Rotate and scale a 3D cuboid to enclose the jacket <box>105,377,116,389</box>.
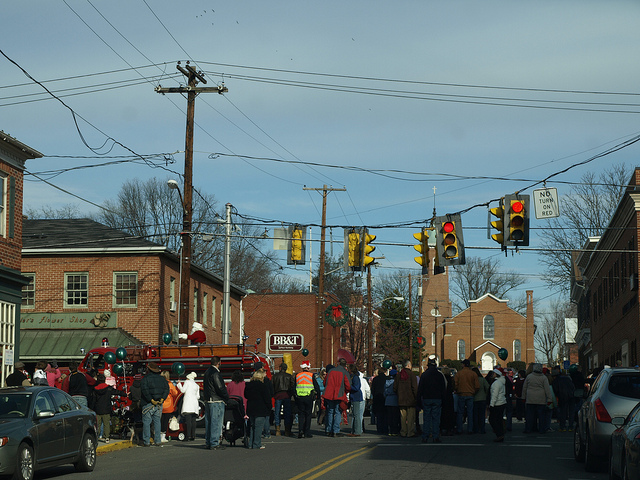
[{"bbox_3d":[-7.376,5.065,43.729,0.536,0.500,0.563,0,-5,-4],"label":"jacket"}]

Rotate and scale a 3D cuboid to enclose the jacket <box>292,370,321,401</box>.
[{"bbox_3d":[-0.559,5.583,45.696,0.879,1.176,1.323,-3,-47,4],"label":"jacket"}]

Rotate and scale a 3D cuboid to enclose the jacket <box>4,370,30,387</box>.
[{"bbox_3d":[-9.500,4.424,38.758,0.820,0.768,0.445,-1,-3,14],"label":"jacket"}]

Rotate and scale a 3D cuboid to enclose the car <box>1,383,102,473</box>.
[{"bbox_3d":[-7.508,5.267,33.751,0.952,2.541,3.403,-10,-18,30],"label":"car"}]

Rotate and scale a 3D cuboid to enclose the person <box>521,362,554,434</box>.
[{"bbox_3d":[7.387,5.369,41.843,0.970,2.394,1.262,-4,-16,10],"label":"person"}]

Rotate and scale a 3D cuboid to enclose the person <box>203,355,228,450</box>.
[{"bbox_3d":[-3.243,5.109,38.476,0.704,2.893,0.908,3,-16,-15],"label":"person"}]

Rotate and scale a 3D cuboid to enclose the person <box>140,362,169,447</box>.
[{"bbox_3d":[-5.302,5.304,39.483,0.900,2.640,1.085,1,-16,-9],"label":"person"}]

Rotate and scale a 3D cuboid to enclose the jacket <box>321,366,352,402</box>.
[{"bbox_3d":[0.558,4.909,41.950,1.009,1.204,0.880,7,-7,11],"label":"jacket"}]

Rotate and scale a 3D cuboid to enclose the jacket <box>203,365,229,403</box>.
[{"bbox_3d":[-3.333,4.519,38.677,0.645,1.129,1.224,-1,2,-31],"label":"jacket"}]

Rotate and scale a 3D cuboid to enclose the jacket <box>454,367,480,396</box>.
[{"bbox_3d":[4.956,4.799,41.605,0.870,0.991,0.594,1,4,3],"label":"jacket"}]

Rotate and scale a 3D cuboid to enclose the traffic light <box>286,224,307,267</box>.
[{"bbox_3d":[-0.818,0.411,45.513,0.643,1.543,0.435,-1,-53,0],"label":"traffic light"}]

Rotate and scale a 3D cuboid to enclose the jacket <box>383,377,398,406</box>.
[{"bbox_3d":[2.363,5.293,42.508,0.598,1.103,0.887,3,-11,-15],"label":"jacket"}]

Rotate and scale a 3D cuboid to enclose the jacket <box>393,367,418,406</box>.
[{"bbox_3d":[2.957,4.975,41.327,0.459,1.279,1.171,14,-22,-43],"label":"jacket"}]

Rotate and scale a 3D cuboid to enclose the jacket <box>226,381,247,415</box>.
[{"bbox_3d":[-2.698,5.131,40.373,0.737,1.331,0.855,0,2,10],"label":"jacket"}]

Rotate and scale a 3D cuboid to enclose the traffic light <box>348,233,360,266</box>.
[{"bbox_3d":[1.215,0.374,43.446,0.406,1.127,0.621,-1,-16,0],"label":"traffic light"}]

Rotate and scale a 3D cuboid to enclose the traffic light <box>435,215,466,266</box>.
[{"bbox_3d":[4.366,0.058,41.183,0.837,1.753,0.442,-7,-21,6],"label":"traffic light"}]

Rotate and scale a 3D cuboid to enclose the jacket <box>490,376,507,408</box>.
[{"bbox_3d":[5.921,4.993,40.753,0.562,0.979,0.972,0,3,16],"label":"jacket"}]

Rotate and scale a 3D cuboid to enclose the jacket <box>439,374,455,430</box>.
[{"bbox_3d":[4.364,5.672,42.187,0.531,2.061,0.593,-7,18,-1],"label":"jacket"}]

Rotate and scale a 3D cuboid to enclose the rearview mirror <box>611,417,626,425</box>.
[{"bbox_3d":[7.619,4.648,31.359,0.340,0.221,0.306,-5,-17,10],"label":"rearview mirror"}]

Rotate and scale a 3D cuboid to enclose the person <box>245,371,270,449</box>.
[{"bbox_3d":[-1.956,5.348,38.398,0.545,2.393,0.741,13,-21,-41],"label":"person"}]

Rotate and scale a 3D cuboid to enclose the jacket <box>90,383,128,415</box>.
[{"bbox_3d":[-6.914,5.263,40.224,1.206,1.180,0.414,1,0,6],"label":"jacket"}]

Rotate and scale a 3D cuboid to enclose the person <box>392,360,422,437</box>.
[{"bbox_3d":[2.887,5.317,41.396,0.833,2.676,1.459,-2,-16,2],"label":"person"}]

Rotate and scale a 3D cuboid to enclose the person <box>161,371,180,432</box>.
[{"bbox_3d":[-5.064,5.492,41.050,0.842,2.169,0.657,4,23,-4],"label":"person"}]

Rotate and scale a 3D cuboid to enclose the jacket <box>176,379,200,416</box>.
[{"bbox_3d":[-4.296,5.246,40.915,0.559,1.045,0.676,-1,-16,-2],"label":"jacket"}]

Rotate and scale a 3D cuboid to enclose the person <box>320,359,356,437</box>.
[{"bbox_3d":[0.643,5.385,42.075,1.066,2.644,1.037,1,-12,30],"label":"person"}]

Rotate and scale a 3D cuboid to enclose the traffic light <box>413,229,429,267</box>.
[{"bbox_3d":[3.538,0.243,42.648,0.485,1.457,1.087,-3,-16,6],"label":"traffic light"}]

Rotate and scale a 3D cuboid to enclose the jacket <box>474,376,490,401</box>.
[{"bbox_3d":[5.465,5.096,41.676,0.859,0.895,0.496,0,-2,6],"label":"jacket"}]

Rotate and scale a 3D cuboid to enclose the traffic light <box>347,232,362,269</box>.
[{"bbox_3d":[1.217,0.380,43.487,0.455,1.216,0.664,-1,-16,0],"label":"traffic light"}]
